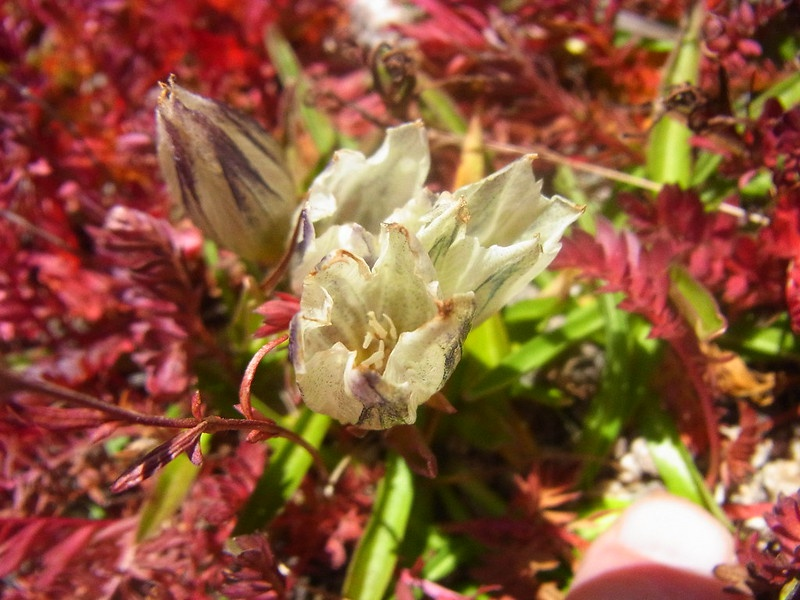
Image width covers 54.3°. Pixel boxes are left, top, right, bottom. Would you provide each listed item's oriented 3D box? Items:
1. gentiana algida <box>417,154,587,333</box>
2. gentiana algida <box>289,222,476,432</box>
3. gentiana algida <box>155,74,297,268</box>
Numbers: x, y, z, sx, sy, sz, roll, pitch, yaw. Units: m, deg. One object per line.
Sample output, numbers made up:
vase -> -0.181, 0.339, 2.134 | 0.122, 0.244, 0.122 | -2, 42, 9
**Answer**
gentiana algida -> 0.130, -0.107, 1.009 | 0.144, 0.150, 0.179 | 12, 94, -21
gentiana algida -> -0.009, 0.049, 0.930 | 0.188, 0.227, 0.216 | -7, 44, 12
gentiana algida -> -0.234, -0.166, 1.042 | 0.124, 0.237, 0.136 | -15, 58, 9
